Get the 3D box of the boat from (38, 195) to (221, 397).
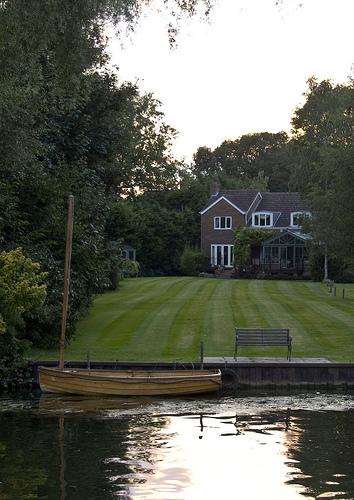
[{"bbox_3d":[-1.370,1.642,25.545,6.119,5.813,1.619,4,-1,-17],"label":"boat"}]
